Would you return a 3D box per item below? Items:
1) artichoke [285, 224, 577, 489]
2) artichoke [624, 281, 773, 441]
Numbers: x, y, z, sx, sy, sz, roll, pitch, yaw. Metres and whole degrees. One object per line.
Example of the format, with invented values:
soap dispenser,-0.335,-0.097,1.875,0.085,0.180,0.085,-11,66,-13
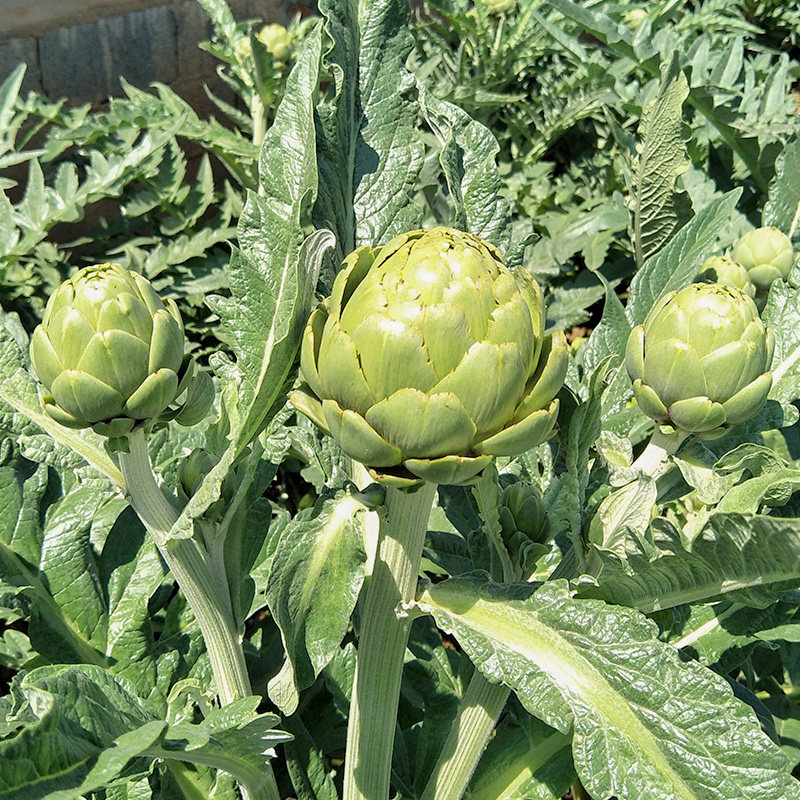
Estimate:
artichoke,0.021,-0.027,0.687,0.159,0.185,0.174,37,57,27
artichoke,0.241,-0.035,0.801,0.084,0.115,0.102,4,15,-40
